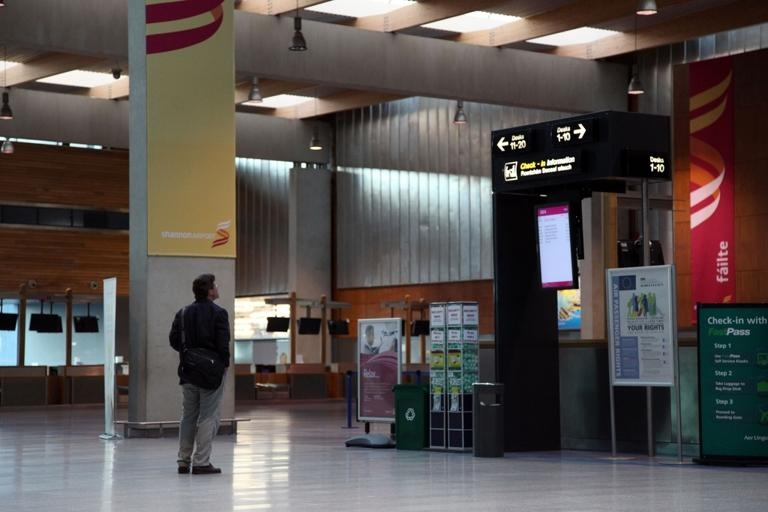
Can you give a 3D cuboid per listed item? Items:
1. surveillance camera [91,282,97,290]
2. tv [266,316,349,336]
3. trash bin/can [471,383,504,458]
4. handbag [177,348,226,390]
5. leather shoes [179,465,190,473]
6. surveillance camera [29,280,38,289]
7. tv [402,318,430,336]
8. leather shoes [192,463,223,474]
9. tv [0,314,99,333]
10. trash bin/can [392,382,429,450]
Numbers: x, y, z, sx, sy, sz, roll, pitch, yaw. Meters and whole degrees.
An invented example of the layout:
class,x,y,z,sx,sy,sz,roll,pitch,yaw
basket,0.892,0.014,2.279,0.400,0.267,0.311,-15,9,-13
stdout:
class,x,y,z,sx,sy,sz,roll,pitch,yaw
surveillance camera,-10.037,1.028,31.820,0.169,0.160,0.213,-2,-3,-14
tv,-2.537,2.379,31.276,2.214,0.587,2.068,6,-9,-43
trash bin/can,1.512,2.397,13.337,0.426,1.049,0.188,0,-6,1
handbag,-2.290,1.433,11.565,0.556,0.555,0.418,1,2,-8
leather shoes,-2.543,2.733,11.718,0.130,0.089,0.082,4,-6,-6
surveillance camera,-11.707,0.937,30.627,0.254,0.269,0.086,-1,7,-24
tv,1.066,2.331,29.922,0.758,0.540,1.536,0,-7,-2
leather shoes,-2.250,2.728,11.763,0.381,0.164,0.130,1,-3,-22
tv,-10.943,2.181,29.964,3.199,0.590,0.790,6,-9,-44
trash bin/can,0.416,2.485,14.141,0.800,1.241,0.836,0,-8,4
